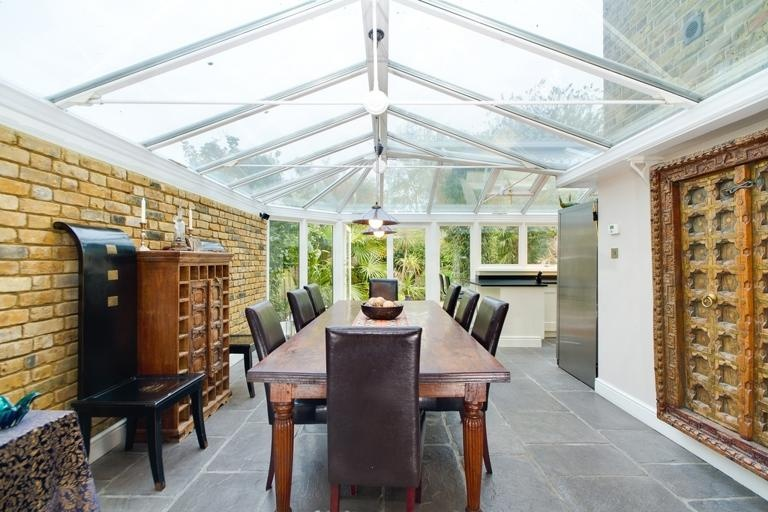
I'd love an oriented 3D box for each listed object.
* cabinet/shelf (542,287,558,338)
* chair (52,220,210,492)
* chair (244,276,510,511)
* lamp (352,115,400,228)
[{"bbox_3d":[2.561,0.846,7.580,0.182,0.912,0.243,7,15,27],"label":"cabinet/shelf"},{"bbox_3d":[-2.020,0.689,3.890,0.916,1.926,0.864,11,17,39],"label":"chair"},{"bbox_3d":[-0.051,1.018,4.274,1.780,1.307,1.986,0,12,-1],"label":"chair"},{"bbox_3d":[-0.059,-0.957,5.887,0.395,1.091,0.391,3,-1,-5],"label":"lamp"}]
